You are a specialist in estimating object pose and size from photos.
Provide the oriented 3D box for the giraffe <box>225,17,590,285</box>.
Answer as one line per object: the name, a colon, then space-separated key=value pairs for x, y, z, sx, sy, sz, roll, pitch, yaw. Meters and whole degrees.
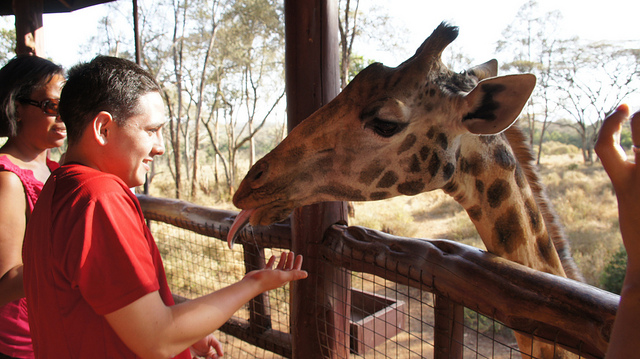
giraffe: x=1.242 y=-0.177 z=5.335 sx=4.045 sy=2.741 sz=1.816 roll=4 pitch=22 yaw=-13
